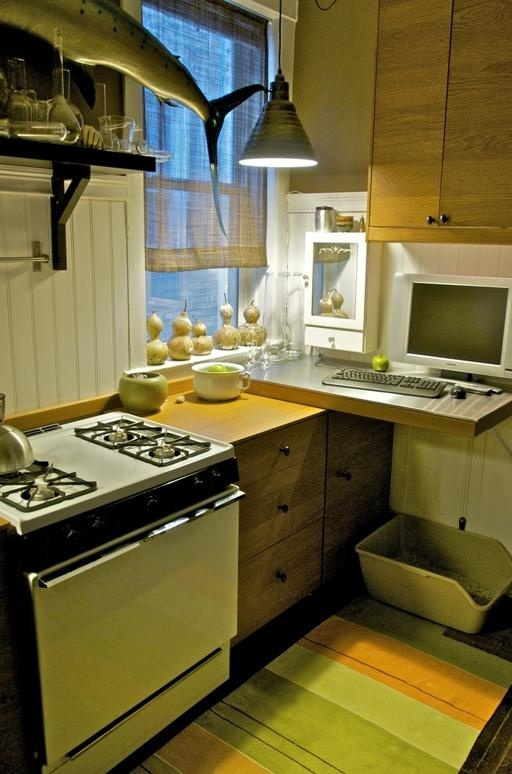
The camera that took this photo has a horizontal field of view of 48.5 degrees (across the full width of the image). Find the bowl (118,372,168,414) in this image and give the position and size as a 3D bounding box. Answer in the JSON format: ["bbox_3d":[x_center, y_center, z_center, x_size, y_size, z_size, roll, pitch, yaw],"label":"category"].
[{"bbox_3d":[-0.369,0.015,1.842,0.138,0.116,0.140,2,7,0],"label":"bowl"}]

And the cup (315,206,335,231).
[{"bbox_3d":[0.301,-0.729,2.456,0.083,0.112,0.110,2,13,12],"label":"cup"}]

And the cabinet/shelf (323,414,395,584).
[{"bbox_3d":[0.409,0.458,2.285,0.195,0.596,0.611,5,11,27],"label":"cabinet/shelf"}]

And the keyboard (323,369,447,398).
[{"bbox_3d":[0.497,-0.018,2.135,0.430,0.054,0.328,7,9,31],"label":"keyboard"}]

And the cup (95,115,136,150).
[{"bbox_3d":[-0.326,-0.598,1.336,0.081,0.074,0.100,15,22,33],"label":"cup"}]

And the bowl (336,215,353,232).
[{"bbox_3d":[0.388,-0.707,2.440,0.071,0.057,0.066,-2,15,0],"label":"bowl"}]

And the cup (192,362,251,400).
[{"bbox_3d":[-0.136,-0.028,2.084,0.169,0.095,0.143,2,12,11],"label":"cup"}]

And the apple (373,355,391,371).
[{"bbox_3d":[0.529,-0.104,2.385,0.066,0.065,0.061,-5,6,-44],"label":"apple"}]

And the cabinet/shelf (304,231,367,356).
[{"bbox_3d":[0.352,-0.415,2.469,0.323,0.502,0.122,9,10,43],"label":"cabinet/shelf"}]

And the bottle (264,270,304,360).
[{"bbox_3d":[0.133,-0.336,2.681,0.205,0.406,0.278,2,7,3],"label":"bottle"}]
